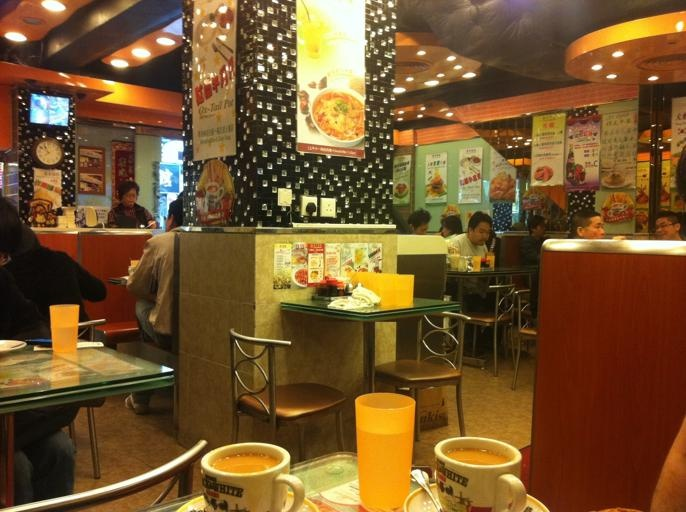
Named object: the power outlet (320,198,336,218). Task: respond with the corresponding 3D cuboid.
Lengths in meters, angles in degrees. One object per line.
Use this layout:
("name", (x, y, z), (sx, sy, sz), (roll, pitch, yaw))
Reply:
("power outlet", (-0.096, -0.308, 3.703), (0.122, 0.127, 0.014), (-2, 2, -44))

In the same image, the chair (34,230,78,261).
("chair", (-2.267, -0.096, 4.616), (0.151, 0.269, 0.271), (-1, -2, 39))

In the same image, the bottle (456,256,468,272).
("bottle", (1.244, 0.079, 6.035), (0.118, 0.230, 0.121), (2, 0, 0))

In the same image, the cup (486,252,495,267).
("cup", (1.674, 0.045, 6.651), (0.083, 0.154, 0.157), (2, 3, 22))

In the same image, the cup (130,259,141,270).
("cup", (-1.751, 0.070, 4.948), (0.079, 0.084, 0.067), (-1, 0, -35))

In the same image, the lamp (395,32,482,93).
("lamp", (1.046, -2.444, 7.432), (1.008, 0.236, 0.998), (6, -12, -38))

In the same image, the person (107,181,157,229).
("person", (-3.108, -0.653, 8.609), (0.602, 0.854, 0.506), (-6, 12, -33))

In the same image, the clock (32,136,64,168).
("clock", (-4.444, -1.570, 8.784), (0.064, 0.470, 0.452), (-8, 0, 41))

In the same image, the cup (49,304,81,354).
("cup", (-1.036, 0.269, 2.188), (0.116, 0.175, 0.121), (2, 4, 0))

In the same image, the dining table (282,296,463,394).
("dining table", (0.147, 0.337, 3.392), (0.694, 0.699, 0.663), (-2, 2, -44))

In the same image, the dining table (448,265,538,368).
("dining table", (1.546, 0.653, 6.140), (0.965, 0.711, 0.519), (-4, 5, -36))

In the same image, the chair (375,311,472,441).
("chair", (0.475, 0.744, 3.673), (0.597, 0.807, 0.593), (2, -1, 22))

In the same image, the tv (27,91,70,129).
("tv", (-4.440, -2.209, 8.785), (0.608, 0.541, 0.081), (-1, 2, -39))

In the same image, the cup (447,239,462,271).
("cup", (1.225, -0.015, 6.497), (0.167, 0.318, 0.172), (1, 1, 0))

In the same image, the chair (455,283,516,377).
("chair", (1.480, 0.692, 6.046), (0.498, 0.863, 0.579), (9, 7, 42))

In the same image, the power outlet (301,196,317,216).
("power outlet", (-0.212, -0.313, 3.606), (0.040, 0.128, 0.124), (1, 1, 41))

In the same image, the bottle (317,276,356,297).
("bottle", (-0.039, 0.187, 3.542), (0.224, 0.111, 0.164), (1, 3, 1))

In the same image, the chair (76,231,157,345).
("chair", (-2.078, 0.307, 5.552), (0.642, 1.065, 0.593), (-2, 7, -26))
